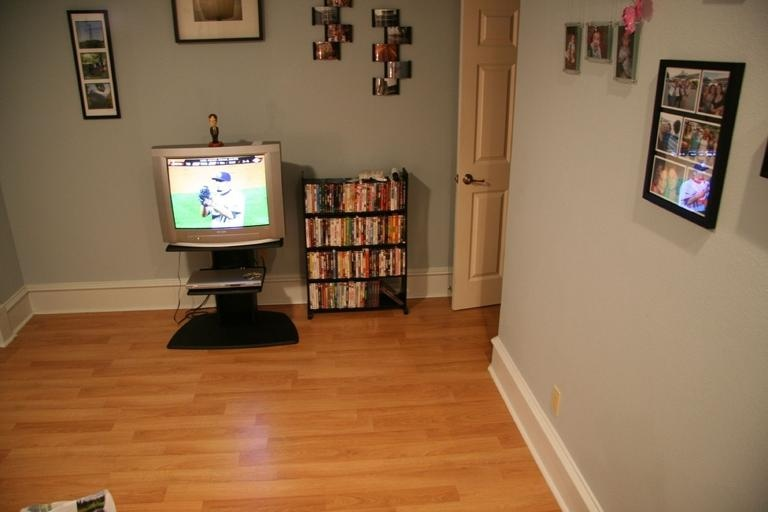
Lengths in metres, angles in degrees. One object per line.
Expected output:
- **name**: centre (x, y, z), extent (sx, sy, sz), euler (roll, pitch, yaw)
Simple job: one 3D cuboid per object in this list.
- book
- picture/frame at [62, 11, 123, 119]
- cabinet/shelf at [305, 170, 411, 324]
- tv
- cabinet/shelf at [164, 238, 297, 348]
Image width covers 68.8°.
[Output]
- **book**: centre (-0.275, -0.123, 4.788), extent (0.952, 1.228, 0.592), euler (0, 23, 0)
- **picture/frame**: centre (-2.331, -1.536, 4.521), extent (0.301, 0.813, 0.112), euler (-2, 21, -2)
- **cabinet/shelf**: centre (-0.262, -0.108, 4.803), extent (1.239, 1.623, 0.583), euler (-1, 15, -3)
- **tv**: centre (-1.200, -0.504, 4.691), extent (1.322, 1.051, 0.746), euler (0, 18, -2)
- **cabinet/shelf**: centre (-1.286, 0.415, 4.747), extent (1.065, 0.754, 0.860), euler (-2, 21, -5)
